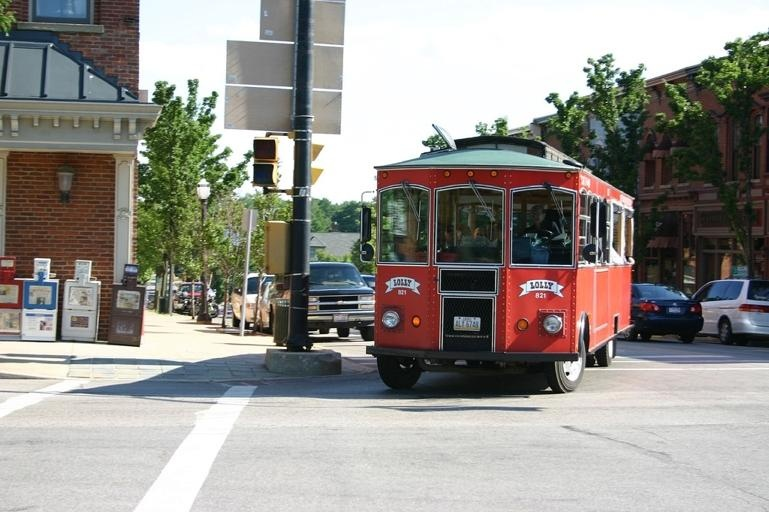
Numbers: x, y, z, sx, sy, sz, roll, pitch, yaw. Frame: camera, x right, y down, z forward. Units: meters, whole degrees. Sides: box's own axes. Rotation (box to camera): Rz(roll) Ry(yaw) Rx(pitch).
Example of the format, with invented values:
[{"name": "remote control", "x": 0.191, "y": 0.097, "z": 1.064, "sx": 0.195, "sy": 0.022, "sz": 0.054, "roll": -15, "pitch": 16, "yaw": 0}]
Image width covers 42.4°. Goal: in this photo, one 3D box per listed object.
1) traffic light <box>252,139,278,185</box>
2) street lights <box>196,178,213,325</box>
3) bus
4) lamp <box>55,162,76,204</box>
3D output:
[{"name": "traffic light", "x": -2.121, "y": -1.671, "z": 17.688, "sx": 0.424, "sy": 0.894, "sz": 0.239, "roll": 2, "pitch": -3, "yaw": -5}, {"name": "street lights", "x": -6.371, "y": -0.148, "z": 34.875, "sx": 1.041, "sy": 5.035, "sz": 0.966, "roll": 0, "pitch": -4, "yaw": -12}, {"name": "bus", "x": 1.963, "y": 0.045, "z": 17.276, "sx": 4.849, "sy": 4.586, "sz": 2.788, "roll": 1, "pitch": -3, "yaw": -5}, {"name": "lamp", "x": -6.858, "y": -1.555, "z": 21.365, "sx": 0.320, "sy": 0.806, "sz": 0.346, "roll": 2, "pitch": -3, "yaw": -15}]
